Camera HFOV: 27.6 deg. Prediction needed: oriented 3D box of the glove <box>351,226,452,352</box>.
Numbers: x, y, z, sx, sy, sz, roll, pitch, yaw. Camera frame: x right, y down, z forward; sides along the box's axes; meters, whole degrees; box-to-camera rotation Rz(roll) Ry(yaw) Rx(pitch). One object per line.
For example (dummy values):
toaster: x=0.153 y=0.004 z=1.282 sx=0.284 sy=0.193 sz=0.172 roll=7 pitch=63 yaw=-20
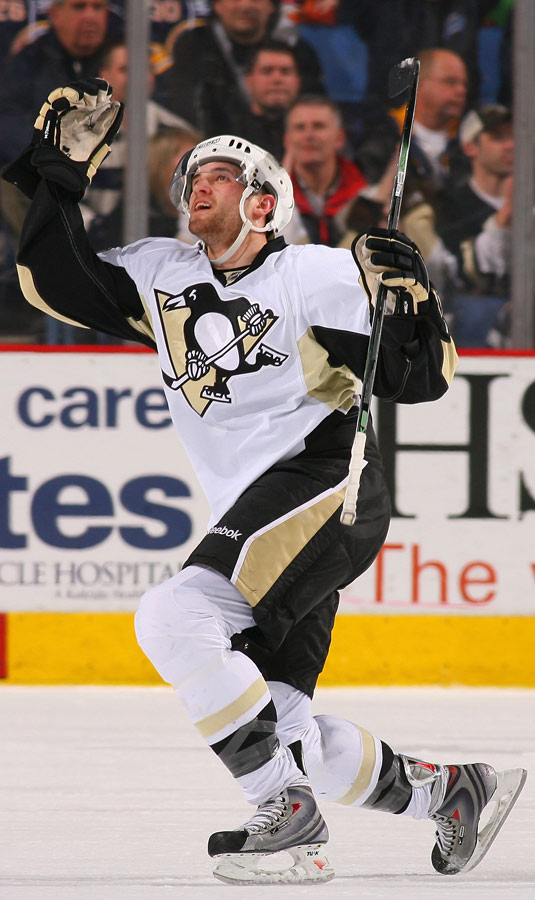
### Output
glove: x=0.244 y=-0.284 z=1.913 sx=0.189 sy=0.184 sz=0.170 roll=1 pitch=-1 yaw=-3

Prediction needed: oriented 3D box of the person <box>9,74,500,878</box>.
person: x=-0.061 y=0.011 z=2.118 sx=0.911 sy=1.579 sz=0.600 roll=0 pitch=-1 yaw=28

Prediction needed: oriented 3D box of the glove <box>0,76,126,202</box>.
glove: x=-0.412 y=-0.660 z=2.317 sx=0.127 sy=0.277 sz=0.212 roll=41 pitch=2 yaw=18
